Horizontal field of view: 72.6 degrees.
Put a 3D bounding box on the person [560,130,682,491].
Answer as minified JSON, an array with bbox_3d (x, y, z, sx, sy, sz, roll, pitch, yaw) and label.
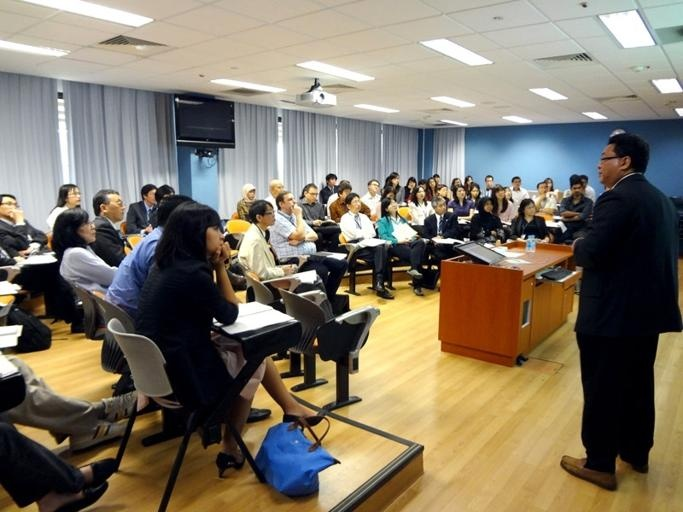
[{"bbox_3d":[1.541,0.309,2.563,0.585,1.946,0.348,-1,9,10],"label":"person"}]

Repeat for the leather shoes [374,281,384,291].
[{"bbox_3d":[0.492,0.398,6.004,0.104,0.117,0.122,-11,-14,43],"label":"leather shoes"}]

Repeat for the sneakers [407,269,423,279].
[{"bbox_3d":[0.944,0.244,6.037,0.211,0.090,0.092,10,17,34],"label":"sneakers"}]

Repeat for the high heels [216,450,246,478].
[{"bbox_3d":[-0.604,1.128,2.563,0.089,0.087,0.178,6,9,18],"label":"high heels"}]

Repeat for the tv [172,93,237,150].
[{"bbox_3d":[-2.495,-2.408,8.294,1.019,0.698,0.110,-4,8,-44],"label":"tv"}]

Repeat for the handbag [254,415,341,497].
[{"bbox_3d":[-0.239,1.055,2.408,0.365,0.328,0.281,-6,9,-23],"label":"handbag"}]

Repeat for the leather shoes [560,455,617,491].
[{"bbox_3d":[1.382,1.228,2.681,0.114,0.122,0.308,-5,19,-44],"label":"leather shoes"}]

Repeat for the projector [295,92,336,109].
[{"bbox_3d":[-0.369,-2.302,6.768,0.612,0.217,0.355,-8,10,-37],"label":"projector"}]
